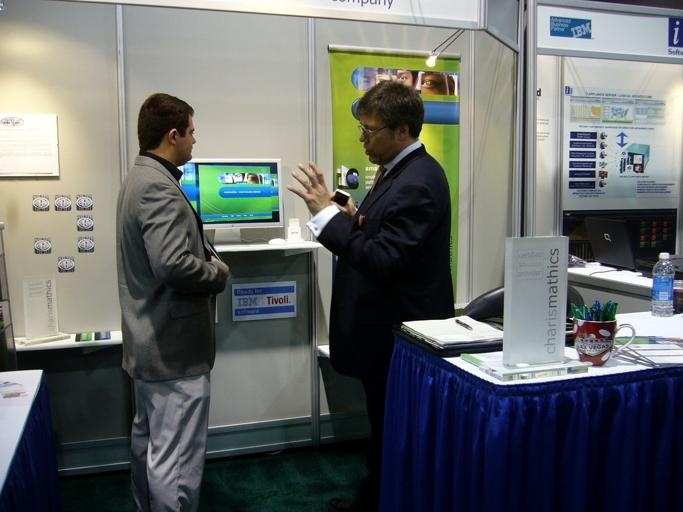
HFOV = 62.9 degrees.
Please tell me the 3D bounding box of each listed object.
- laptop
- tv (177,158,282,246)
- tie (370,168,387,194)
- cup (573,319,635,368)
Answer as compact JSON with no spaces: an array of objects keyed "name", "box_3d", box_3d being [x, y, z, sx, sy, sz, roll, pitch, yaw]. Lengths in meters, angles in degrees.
[{"name":"laptop","box_3d":[2.087,-0.123,3.977,0.463,0.383,0.488,-2,7,-19]},{"name":"tv","box_3d":[-0.648,-0.334,3.221,0.445,0.371,0.139,-2,1,-15]},{"name":"tie","box_3d":[0.192,-0.358,2.663,0.031,0.150,0.085,16,10,-22]},{"name":"cup","box_3d":[0.897,0.290,1.922,0.206,0.181,0.144,1,-2,-8]}]
